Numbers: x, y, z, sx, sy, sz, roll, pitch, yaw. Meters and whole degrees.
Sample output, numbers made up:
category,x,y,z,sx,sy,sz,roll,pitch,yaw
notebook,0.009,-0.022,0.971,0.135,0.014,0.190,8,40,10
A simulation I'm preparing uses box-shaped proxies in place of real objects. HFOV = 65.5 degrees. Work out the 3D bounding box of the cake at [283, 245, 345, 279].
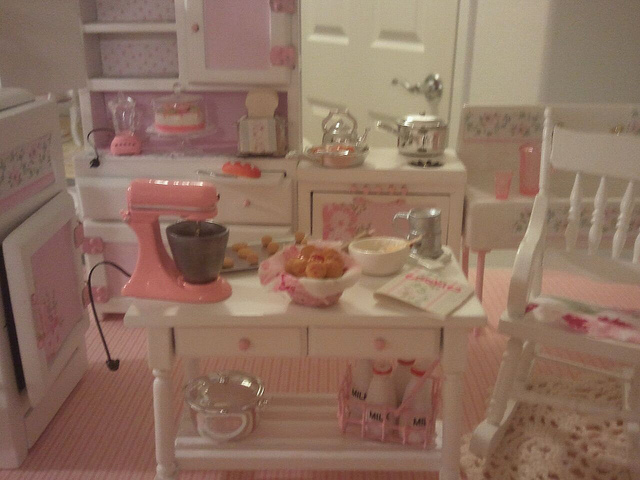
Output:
category,x,y,z,sx,sy,sz,roll,pitch,yaw
cake,-0.019,0.061,1.586,0.197,0.060,0.189,-3,23,-5

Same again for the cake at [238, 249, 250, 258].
category,x,y,z,sx,sy,sz,roll,pitch,yaw
cake,-0.279,0.052,1.828,0.029,0.015,0.030,6,16,15

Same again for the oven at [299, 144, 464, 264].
category,x,y,z,sx,sy,sz,roll,pitch,yaw
oven,0.311,-0.264,2.837,0.957,0.977,0.577,2,18,4

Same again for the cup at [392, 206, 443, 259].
category,x,y,z,sx,sy,sz,roll,pitch,yaw
cup,0.367,-0.026,1.882,0.205,0.203,0.129,-9,22,-6

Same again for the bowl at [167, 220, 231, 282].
category,x,y,z,sx,sy,sz,roll,pitch,yaw
bowl,-0.400,0.056,1.654,0.214,0.182,0.216,4,15,-1

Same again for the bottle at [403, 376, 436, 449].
category,x,y,z,sx,sy,sz,roll,pitch,yaw
bottle,0.346,0.584,1.790,0.098,0.309,0.091,5,5,0

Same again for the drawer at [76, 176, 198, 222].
category,x,y,z,sx,sy,sz,roll,pitch,yaw
drawer,-0.765,-0.181,2.060,0.265,0.137,0.142,1,14,-3

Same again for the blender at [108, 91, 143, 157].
category,x,y,z,sx,sy,sz,roll,pitch,yaw
blender,-1.105,-0.666,2.811,0.171,0.312,0.418,-8,24,-17

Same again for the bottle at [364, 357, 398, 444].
category,x,y,z,sx,sy,sz,roll,pitch,yaw
bottle,0.225,0.571,1.792,0.119,0.306,0.127,-1,23,0

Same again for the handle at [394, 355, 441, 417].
category,x,y,z,sx,sy,sz,roll,pitch,yaw
handle,0.344,0.515,1.733,0.038,0.039,0.353,-35,16,46

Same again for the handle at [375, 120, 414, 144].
category,x,y,z,sx,sy,sz,roll,pitch,yaw
handle,0.395,-0.573,2.723,0.224,0.054,0.130,27,3,3

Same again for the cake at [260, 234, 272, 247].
category,x,y,z,sx,sy,sz,roll,pitch,yaw
cake,-0.204,0.000,1.937,0.032,0.044,0.035,16,-18,32

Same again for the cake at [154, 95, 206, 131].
category,x,y,z,sx,sy,sz,roll,pitch,yaw
cake,-0.797,-0.710,2.753,0.290,0.188,0.293,-4,24,-20

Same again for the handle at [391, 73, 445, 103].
category,x,y,z,sx,sy,sz,roll,pitch,yaw
handle,0.601,-0.890,2.937,0.160,0.162,0.282,6,-1,38

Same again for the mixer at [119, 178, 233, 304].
category,x,y,z,sx,sy,sz,roll,pitch,yaw
mixer,-0.389,-0.032,1.680,0.450,0.482,0.280,1,25,-3

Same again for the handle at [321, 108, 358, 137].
category,x,y,z,sx,sy,sz,roll,pitch,yaw
handle,0.112,-0.672,2.850,0.238,0.218,0.034,2,16,1
